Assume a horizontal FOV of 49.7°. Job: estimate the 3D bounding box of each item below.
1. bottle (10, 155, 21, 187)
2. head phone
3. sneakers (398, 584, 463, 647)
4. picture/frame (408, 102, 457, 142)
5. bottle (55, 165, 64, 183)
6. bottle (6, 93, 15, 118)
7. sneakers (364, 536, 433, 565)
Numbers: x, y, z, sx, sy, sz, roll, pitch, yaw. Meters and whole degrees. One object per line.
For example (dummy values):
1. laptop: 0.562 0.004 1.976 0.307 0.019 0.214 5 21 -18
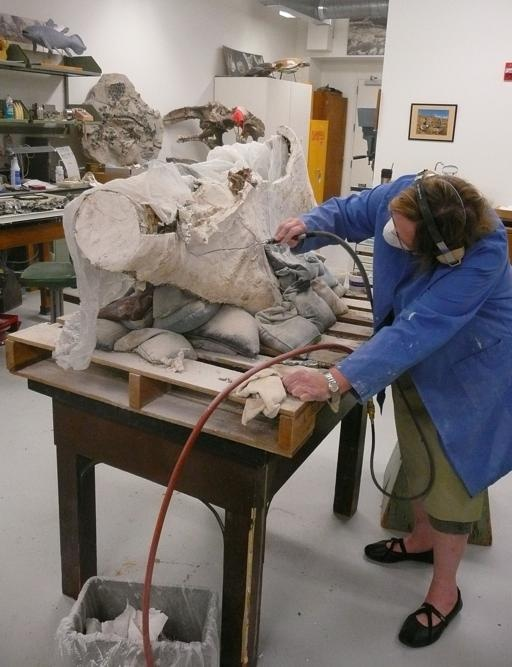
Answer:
1. bottle: -1.902 -1.282 4.387 0.074 0.235 0.165 -3 18 -20
2. head phone: 0.418 -0.232 1.162 0.066 0.181 0.126 -24 47 10
3. sneakers: 0.504 0.807 1.607 0.211 0.067 0.074 -12 11 -40
4. picture/frame: 1.463 -1.751 4.557 0.341 0.269 0.022 14 25 24
5. bottle: -1.729 -1.401 4.881 0.075 0.145 0.283 -2 17 -17
6. bottle: -1.908 -1.753 4.288 0.066 0.179 0.227 -3 18 -22
7. sneakers: 0.477 0.753 1.922 0.235 0.085 0.091 2 11 0
